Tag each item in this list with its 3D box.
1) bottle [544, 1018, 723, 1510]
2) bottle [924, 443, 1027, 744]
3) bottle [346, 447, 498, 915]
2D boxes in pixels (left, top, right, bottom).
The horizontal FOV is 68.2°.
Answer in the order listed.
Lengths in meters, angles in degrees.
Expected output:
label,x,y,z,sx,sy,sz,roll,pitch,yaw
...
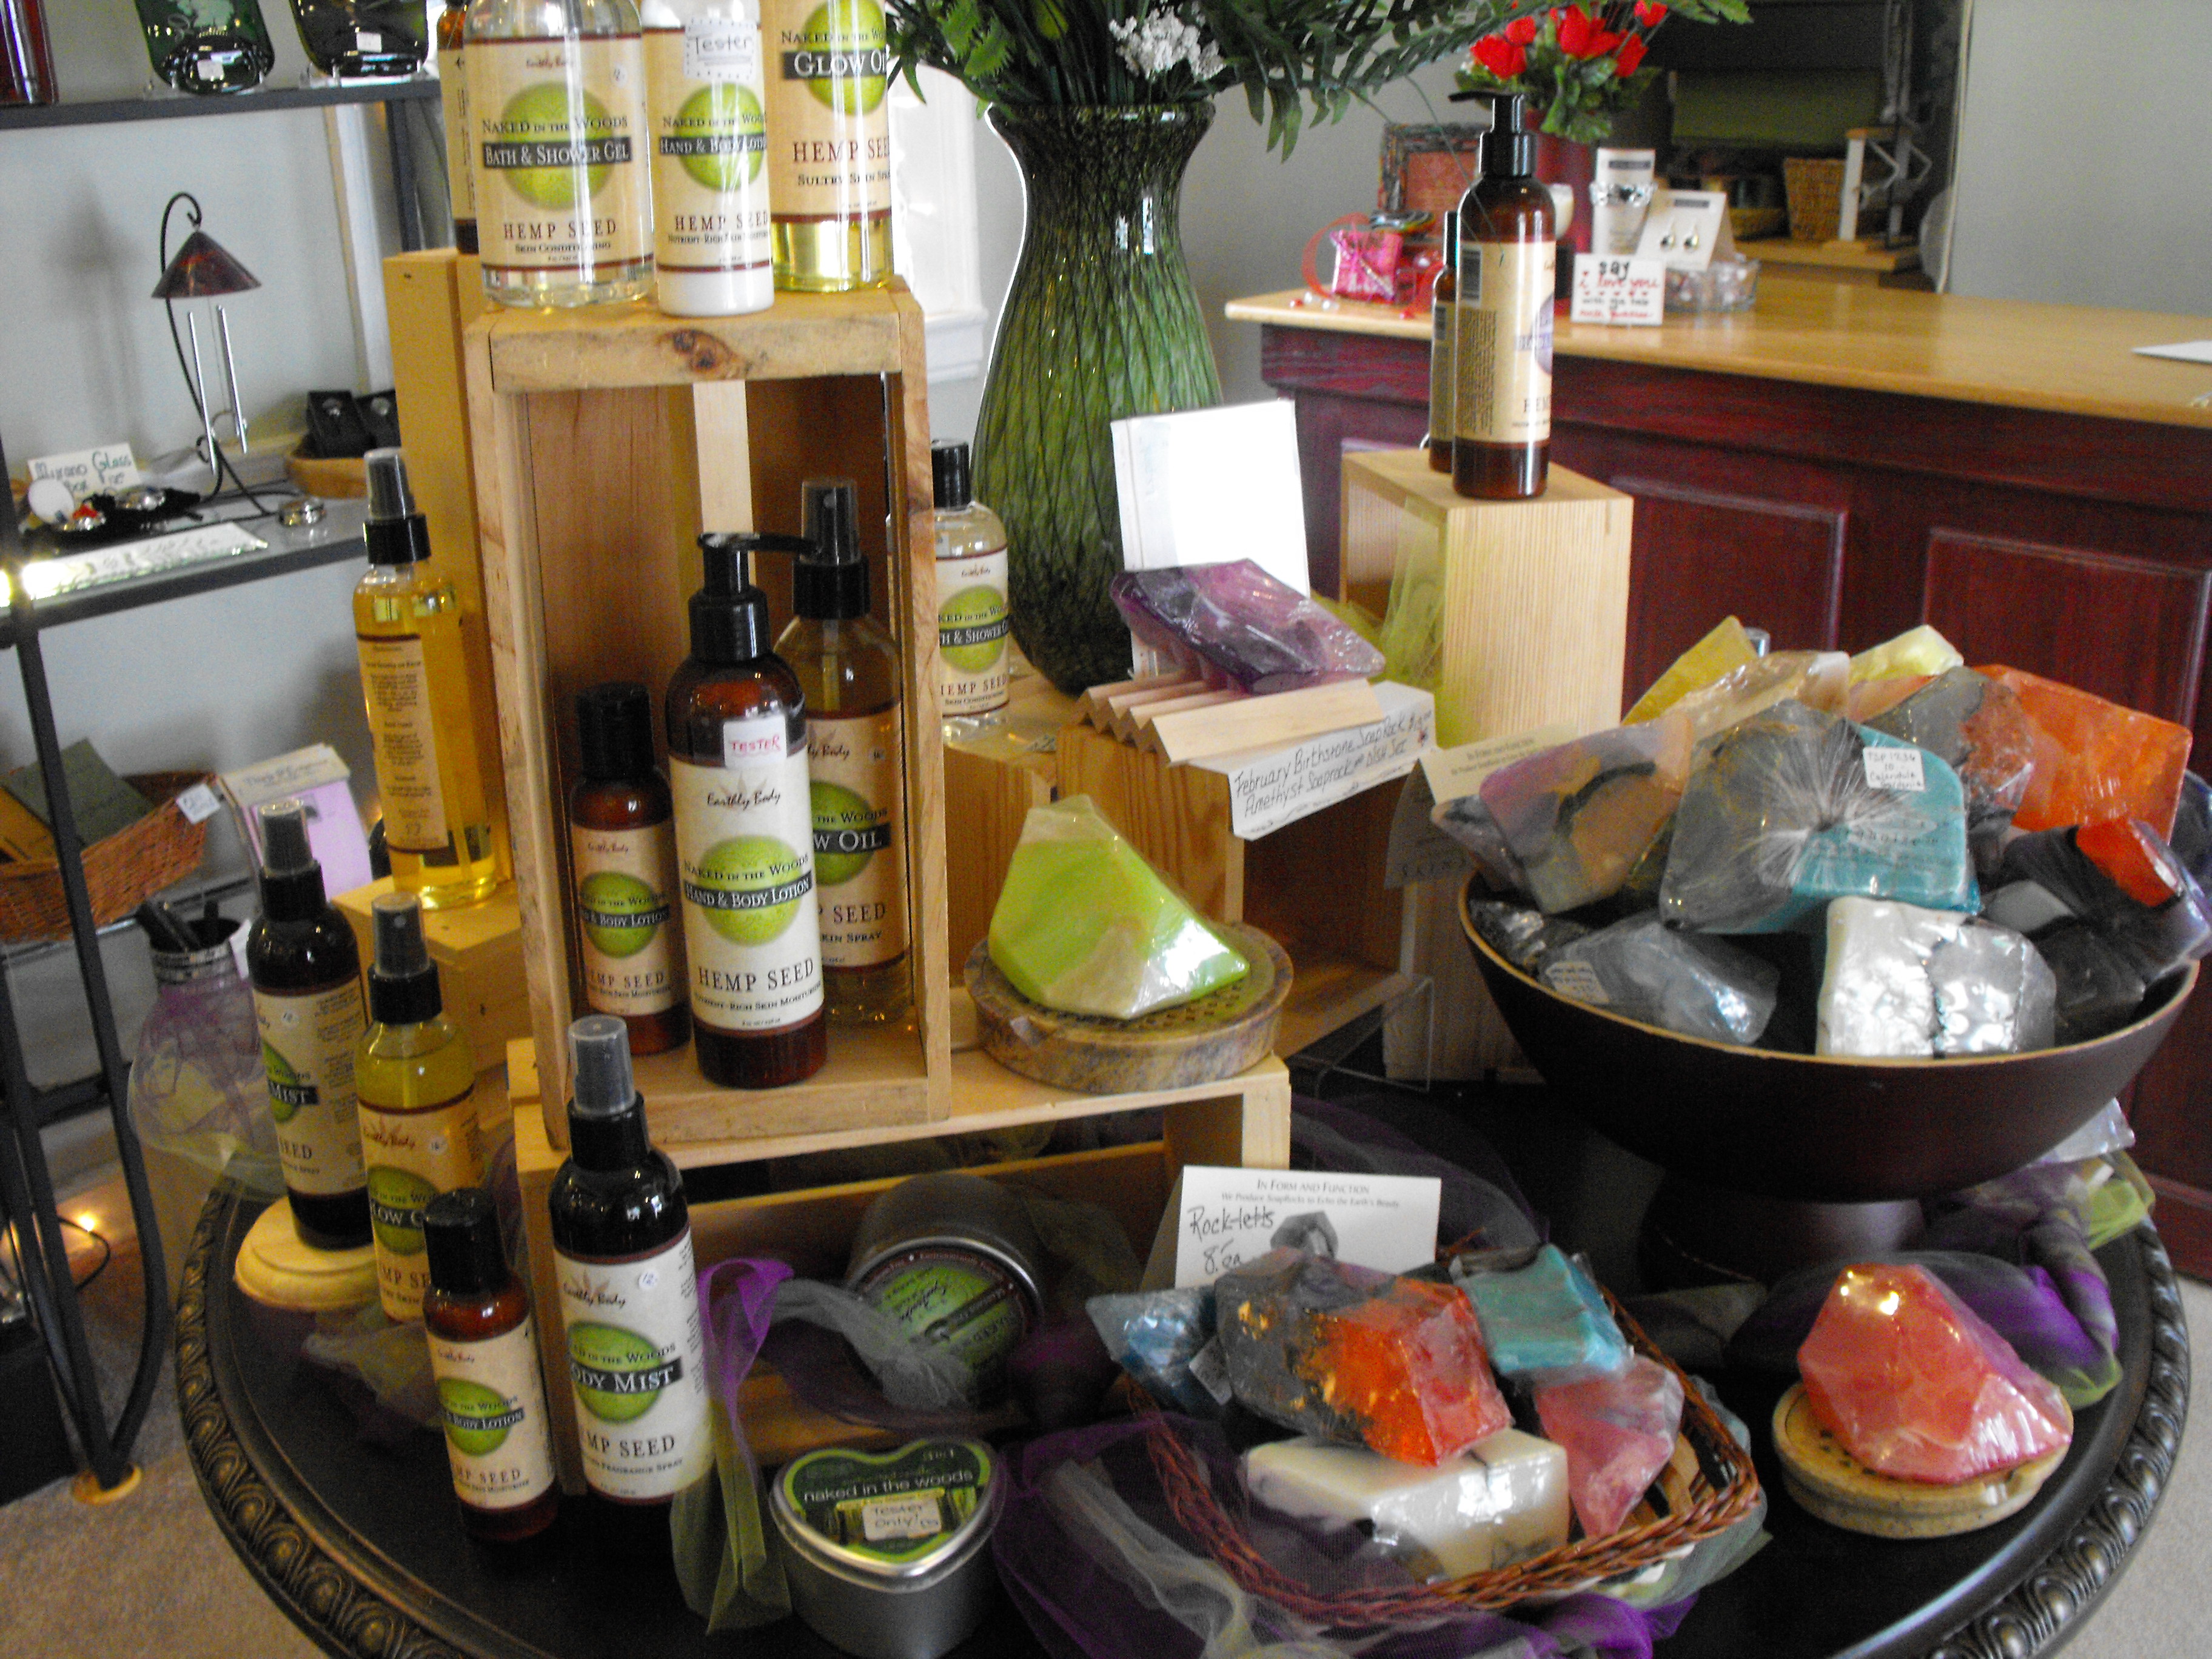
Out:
label,x,y,z,sx,sy,sz,roll,pitch,yaw
bottle,-0.284,0.244,0.917,0.106,0.309,0.054,3,21,19
bottle,-0.108,-0.186,1.269,0.040,0.220,0.113,5,22,23
bottle,-0.503,-0.113,1.180,0.082,0.314,0.172,-13,22,-24
